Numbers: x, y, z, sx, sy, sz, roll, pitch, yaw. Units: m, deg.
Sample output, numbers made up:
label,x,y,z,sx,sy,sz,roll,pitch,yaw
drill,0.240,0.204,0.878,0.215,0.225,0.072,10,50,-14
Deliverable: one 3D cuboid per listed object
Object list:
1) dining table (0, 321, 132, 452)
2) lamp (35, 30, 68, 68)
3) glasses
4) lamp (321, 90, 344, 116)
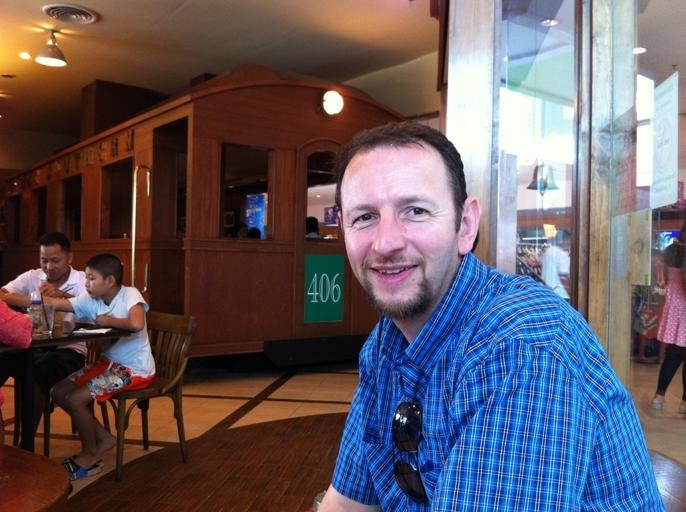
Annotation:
label,x,y,z,sx,sy,sz,roll,pitch,yaw
dining table,-1.681,0.727,3.212,0.737,0.727,0.730,-1,-1,37
lamp,-3.805,-2.783,6.913,0.359,0.388,0.340,2,5,-30
glasses,0.143,0.430,1.087,0.052,0.182,0.177,-1,3,5
lamp,-0.108,-1.842,6.272,0.266,0.276,0.087,2,-1,-35
